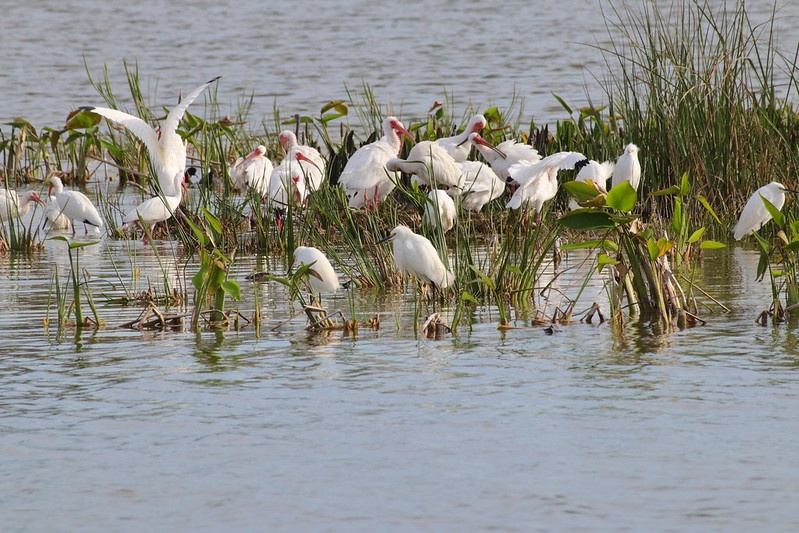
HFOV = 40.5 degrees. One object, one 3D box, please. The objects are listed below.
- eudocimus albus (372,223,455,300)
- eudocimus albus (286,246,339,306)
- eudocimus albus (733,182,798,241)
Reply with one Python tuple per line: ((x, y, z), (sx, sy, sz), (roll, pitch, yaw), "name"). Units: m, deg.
((0.210, -0.065, 8.901), (0.388, 0.535, 0.641), (-2, 1, -31), "eudocimus albus")
((-0.683, -0.006, 8.875), (0.449, 0.351, 0.226), (13, 35, 33), "eudocimus albus")
((3.254, -0.510, 9.778), (0.390, 0.497, 0.802), (-1, 1, 13), "eudocimus albus")
